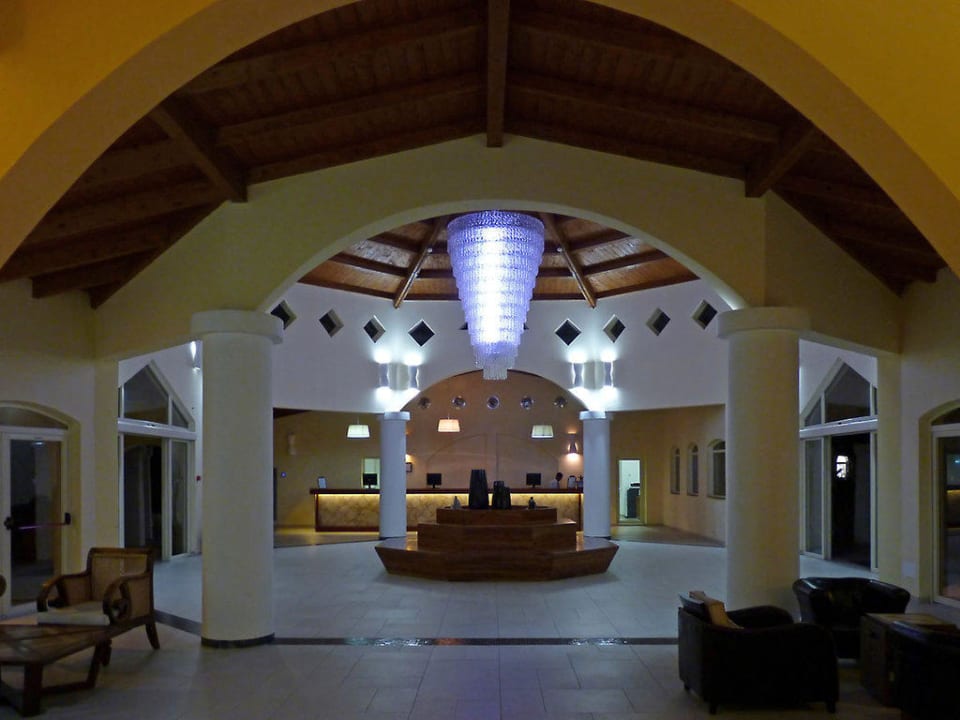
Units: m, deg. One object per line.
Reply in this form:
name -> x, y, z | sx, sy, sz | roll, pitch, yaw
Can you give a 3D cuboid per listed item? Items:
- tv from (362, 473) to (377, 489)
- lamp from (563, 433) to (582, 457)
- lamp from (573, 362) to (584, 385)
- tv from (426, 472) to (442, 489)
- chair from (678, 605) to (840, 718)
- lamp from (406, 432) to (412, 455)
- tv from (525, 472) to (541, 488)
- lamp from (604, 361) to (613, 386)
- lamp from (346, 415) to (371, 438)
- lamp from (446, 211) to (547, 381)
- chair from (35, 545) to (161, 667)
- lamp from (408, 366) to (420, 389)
tv -> -2.764, 3.029, 18.918 | 0.278, 0.353, 0.104 | 1, -9, -2
lamp -> 2.417, 2.234, 19.747 | 0.443, 1.105, 0.501 | 2, -5, 2
lamp -> 2.179, 0.311, 16.765 | 0.218, 0.497, 0.057 | -3, -9, 12
tv -> -1.128, 2.932, 18.367 | 0.350, 0.428, 0.126 | 0, 0, 2
chair -> 2.297, 2.386, 6.493 | 0.773, 0.789, 0.932 | -1, -7, -5
lamp -> -1.850, 2.172, 19.756 | 0.123, 0.505, 0.131 | 0, -9, -6
tv -> 1.265, 2.961, 18.194 | 0.441, 0.523, 0.273 | 0, -9, -4
lamp -> 2.810, 0.290, 16.578 | 0.202, 0.530, 0.094 | -5, -9, 25
lamp -> -3.035, 1.695, 18.804 | 0.497, 0.686, 0.574 | 0, -9, -6
lamp -> 0.558, -1.051, 11.519 | 1.562, 3.126, 1.935 | 1, 4, 10
chair -> -3.766, 2.414, 7.517 | 0.861, 1.111, 1.050 | -4, -11, 19
lamp -> -1.449, 0.375, 16.808 | 0.229, 0.497, 0.067 | 0, -9, -7
